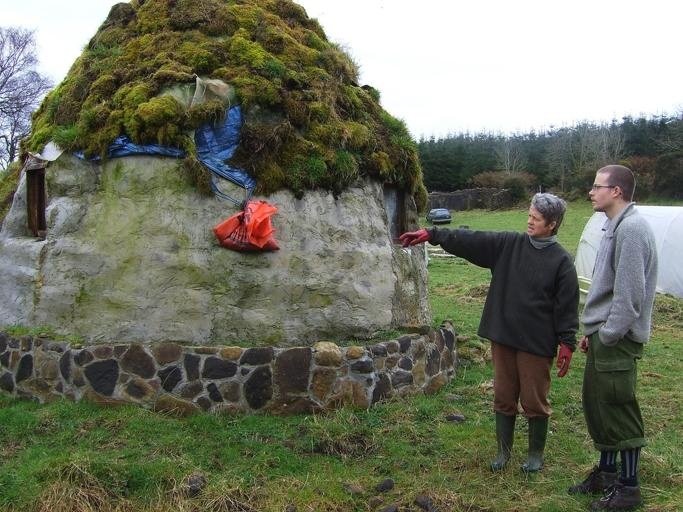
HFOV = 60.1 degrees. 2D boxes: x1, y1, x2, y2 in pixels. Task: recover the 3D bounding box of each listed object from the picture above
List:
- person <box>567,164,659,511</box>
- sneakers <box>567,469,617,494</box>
[{"bbox_3d":[2.805,0.803,6.022,0.712,3.345,1.115,5,13,18],"label":"person"},{"bbox_3d":[2.549,2.360,6.199,0.589,0.274,0.210,-2,-6,5],"label":"sneakers"}]
